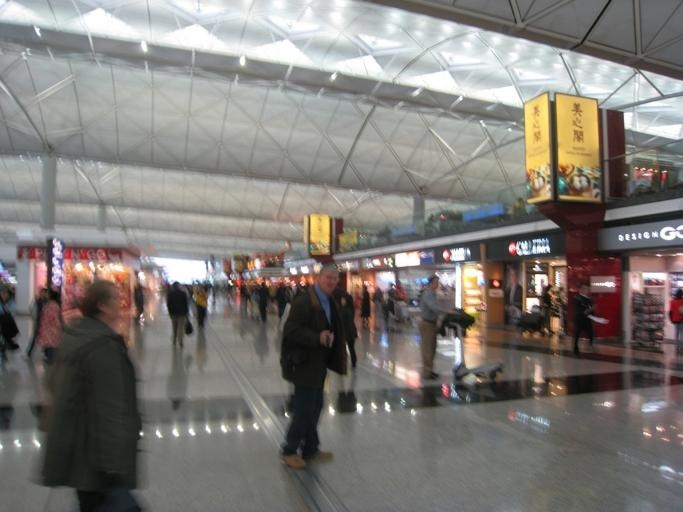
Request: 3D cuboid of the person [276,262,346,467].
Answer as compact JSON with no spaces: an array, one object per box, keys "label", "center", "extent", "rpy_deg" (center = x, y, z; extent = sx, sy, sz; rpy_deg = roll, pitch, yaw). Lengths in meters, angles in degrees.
[{"label":"person","center":[-0.382,1.451,6.970],"extent":[0.895,2.692,0.733],"rpy_deg":[-2,-3,-7]}]
